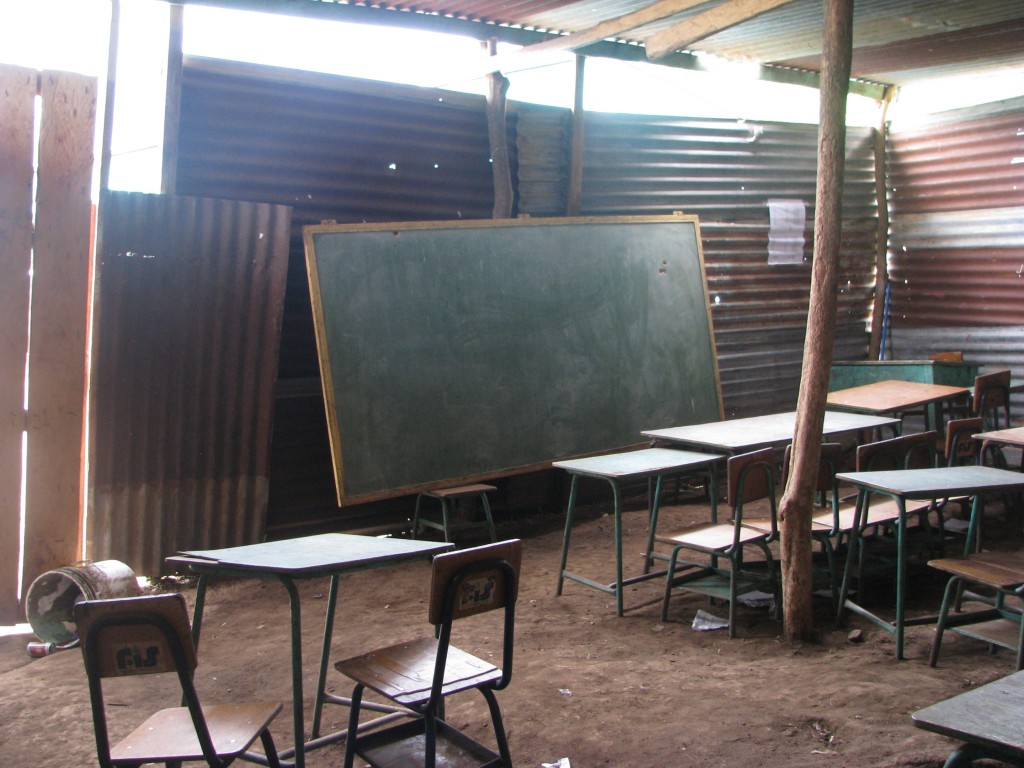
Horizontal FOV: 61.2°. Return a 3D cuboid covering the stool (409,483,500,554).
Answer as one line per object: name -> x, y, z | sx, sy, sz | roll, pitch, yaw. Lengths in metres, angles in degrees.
stool -> -0.539, 1.089, 7.521 | 0.722, 0.584, 0.605 | -3, 3, -35

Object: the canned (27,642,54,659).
canned -> -3.108, 1.745, 5.721 | 0.182, 0.097, 0.112 | -10, -14, 31
